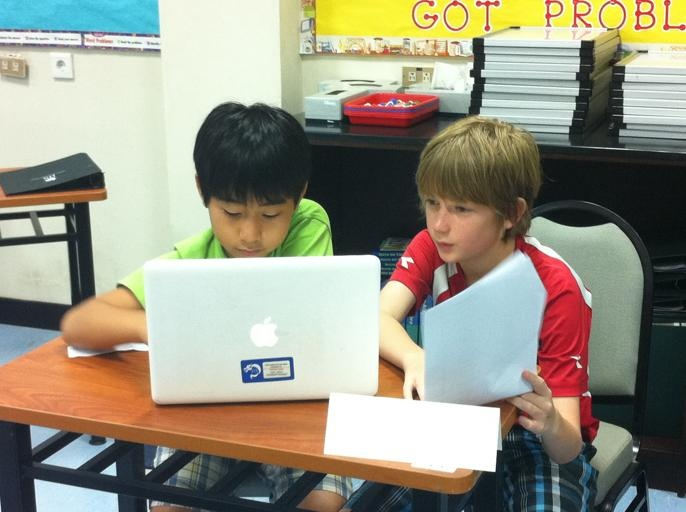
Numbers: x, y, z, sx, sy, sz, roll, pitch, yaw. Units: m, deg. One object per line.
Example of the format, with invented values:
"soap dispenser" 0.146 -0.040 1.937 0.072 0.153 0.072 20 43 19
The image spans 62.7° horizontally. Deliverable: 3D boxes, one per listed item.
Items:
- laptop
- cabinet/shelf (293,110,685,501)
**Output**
"laptop" -0.153 0.122 0.986 0.380 0.261 0.268 0 9 0
"cabinet/shelf" 0.259 0.108 1.709 0.792 1.199 0.731 -12 8 -39
